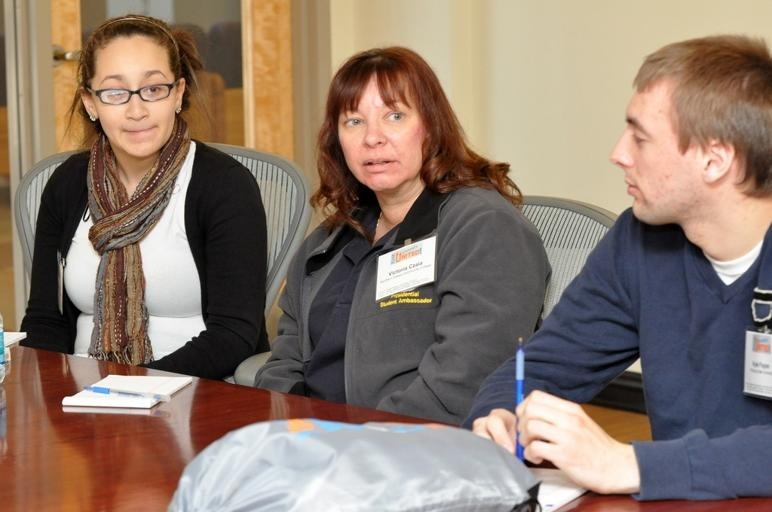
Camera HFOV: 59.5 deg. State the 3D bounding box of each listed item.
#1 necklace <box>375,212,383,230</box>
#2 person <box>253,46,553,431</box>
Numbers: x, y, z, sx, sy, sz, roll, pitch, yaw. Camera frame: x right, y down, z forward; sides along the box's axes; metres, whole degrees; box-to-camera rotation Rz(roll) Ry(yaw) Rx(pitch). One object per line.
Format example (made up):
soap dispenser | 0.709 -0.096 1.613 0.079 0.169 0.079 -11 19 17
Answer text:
necklace | -0.021 -0.113 2.100 0.030 0.041 0.036 0 2 5
person | 0.016 0.002 2.028 0.838 1.132 0.662 -3 -6 28
